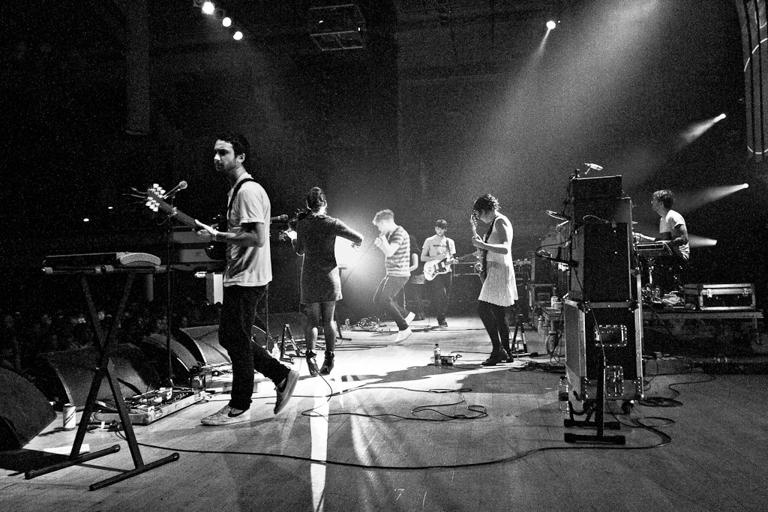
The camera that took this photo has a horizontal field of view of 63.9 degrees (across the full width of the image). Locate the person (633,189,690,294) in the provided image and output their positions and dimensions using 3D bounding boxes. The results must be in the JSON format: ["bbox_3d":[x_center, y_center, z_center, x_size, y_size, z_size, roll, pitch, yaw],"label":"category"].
[{"bbox_3d":[4.352,-0.171,9.855,1.009,1.696,0.876,-5,10,-13],"label":"person"}]

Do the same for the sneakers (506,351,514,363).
[{"bbox_3d":[1.752,1.420,8.688,0.097,0.179,0.188,-1,-15,9],"label":"sneakers"}]

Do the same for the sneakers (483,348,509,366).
[{"bbox_3d":[1.571,1.412,8.614,0.482,0.203,0.162,-11,-5,-19],"label":"sneakers"}]

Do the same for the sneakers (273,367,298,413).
[{"bbox_3d":[-1.093,1.448,6.759,0.255,0.566,0.187,18,3,-17],"label":"sneakers"}]

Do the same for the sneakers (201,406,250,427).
[{"bbox_3d":[-1.666,1.693,6.501,0.526,0.210,0.192,3,-13,-12],"label":"sneakers"}]

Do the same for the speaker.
[{"bbox_3d":[2.454,0.075,7.057,0.653,1.180,1.217,-1,-4,6],"label":"speaker"}]

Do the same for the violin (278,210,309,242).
[{"bbox_3d":[-1.302,-0.402,8.838,0.482,0.144,0.497,-7,-47,4],"label":"violin"}]

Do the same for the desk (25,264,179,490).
[{"bbox_3d":[-2.607,1.045,5.550,1.258,1.903,0.759,-7,15,-22],"label":"desk"}]

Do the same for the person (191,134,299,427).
[{"bbox_3d":[-1.526,0.275,6.616,0.940,3.080,0.965,-4,15,-10],"label":"person"}]

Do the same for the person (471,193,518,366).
[{"bbox_3d":[1.521,0.364,8.559,0.633,2.366,0.802,0,14,6],"label":"person"}]

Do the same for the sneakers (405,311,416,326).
[{"bbox_3d":[0.587,1.364,13.855,0.152,0.198,0.477,-10,-42,-3],"label":"sneakers"}]
